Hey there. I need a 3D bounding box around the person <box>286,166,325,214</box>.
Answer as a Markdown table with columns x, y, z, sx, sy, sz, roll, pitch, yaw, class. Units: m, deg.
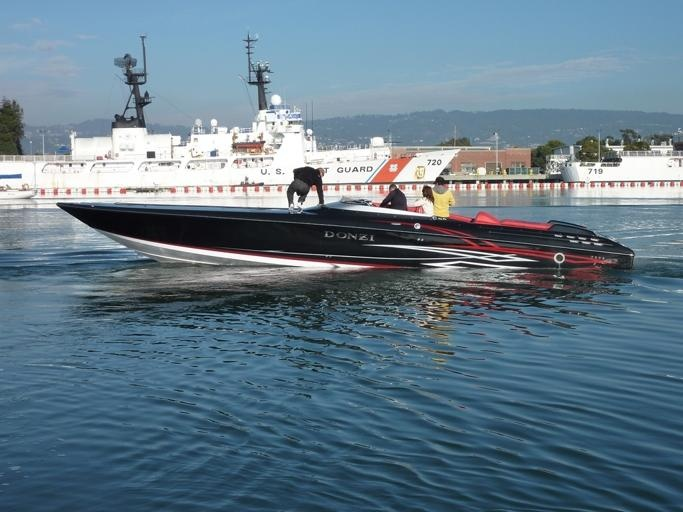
| x | y | z | sx | sy | sz | roll | pitch | yaw | class |
| --- | --- | --- | --- | --- | --- | --- | --- | --- | --- |
| -0.716 | -1.352 | 18.144 | 0.719 | 0.892 | 1.174 | -4 | 8 | 0 | person |
